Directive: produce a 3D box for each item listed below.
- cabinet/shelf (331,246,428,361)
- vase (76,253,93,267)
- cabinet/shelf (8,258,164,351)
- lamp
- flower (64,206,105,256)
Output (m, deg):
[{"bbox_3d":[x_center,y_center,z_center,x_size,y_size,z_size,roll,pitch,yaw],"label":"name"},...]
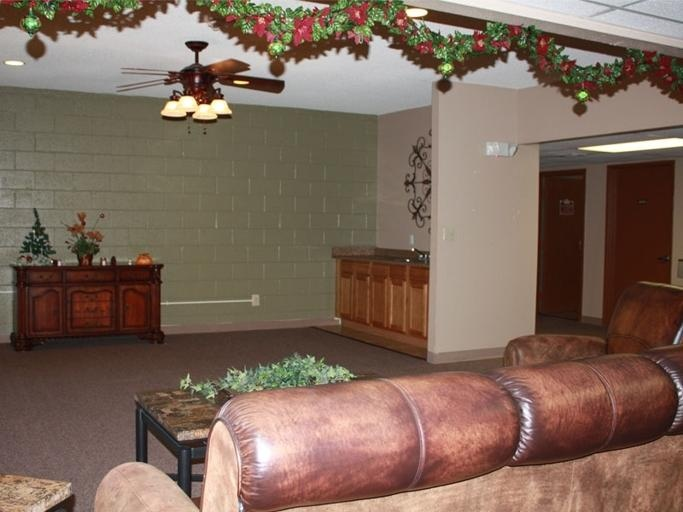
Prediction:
[{"bbox_3d":[0.554,0.678,7.199,0.466,0.854,1.386,1,2,-30],"label":"cabinet/shelf"},{"bbox_3d":[-3.227,0.048,6.573,0.171,0.130,0.145,-4,5,-35],"label":"vase"},{"bbox_3d":[-3.162,0.626,6.701,1.606,0.980,0.659,-1,-1,-18],"label":"cabinet/shelf"},{"bbox_3d":[-1.128,-1.399,4.072,0.632,0.518,0.532,-1,14,-11],"label":"lamp"},{"bbox_3d":[-3.300,-0.292,6.761,0.482,0.657,0.539,-2,-7,-28],"label":"flower"}]
